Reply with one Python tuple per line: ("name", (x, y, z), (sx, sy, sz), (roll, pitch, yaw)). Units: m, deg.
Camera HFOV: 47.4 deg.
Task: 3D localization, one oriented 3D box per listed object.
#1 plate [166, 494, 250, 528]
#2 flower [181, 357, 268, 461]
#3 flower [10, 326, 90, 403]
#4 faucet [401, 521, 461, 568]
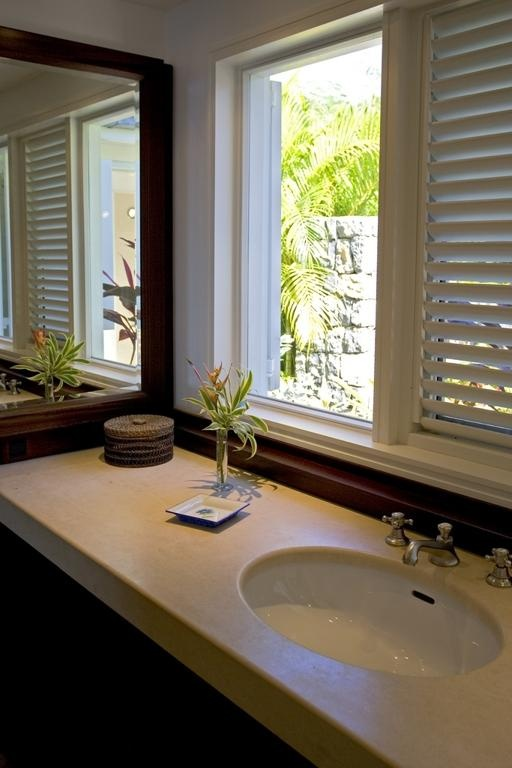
("plate", (-0.108, 0.295, 1.363), (0.195, 0.037, 0.172), (-3, 9, -13))
("flower", (-0.105, 0.089, 1.608), (0.210, 0.285, 0.299), (9, -5, 0))
("flower", (-0.639, -0.040, 1.848), (0.170, 0.184, 0.183), (22, 17, -9))
("faucet", (0.314, 0.282, 1.085), (0.127, 0.085, 0.071), (-1, 3, -29))
